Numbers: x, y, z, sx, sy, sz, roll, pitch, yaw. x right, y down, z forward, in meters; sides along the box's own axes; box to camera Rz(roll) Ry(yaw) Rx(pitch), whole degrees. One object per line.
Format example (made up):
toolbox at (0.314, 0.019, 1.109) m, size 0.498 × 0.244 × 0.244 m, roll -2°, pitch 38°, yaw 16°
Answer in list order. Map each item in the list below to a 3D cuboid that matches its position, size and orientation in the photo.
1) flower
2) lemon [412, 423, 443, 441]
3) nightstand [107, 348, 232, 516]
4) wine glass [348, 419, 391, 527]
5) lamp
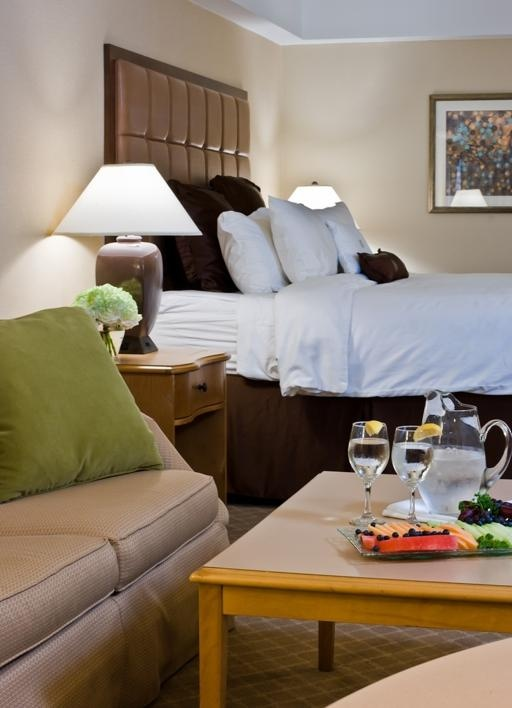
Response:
flower at (-0.564, -0.161, 2.351) m, size 0.270 × 0.283 × 0.244 m, roll -9°, pitch 13°, yaw -27°
lemon at (0.340, 0.154, 1.143) m, size 0.056 × 0.030 × 0.015 m, roll -9°, pitch 2°, yaw -33°
nightstand at (-0.377, 0.335, 2.513) m, size 0.382 × 0.547 × 0.567 m, roll 1°, pitch 2°, yaw 20°
wine glass at (0.225, 0.216, 1.153) m, size 0.083 × 0.231 × 0.069 m, roll -1°, pitch 5°, yaw -1°
lamp at (-0.606, -0.427, 2.808) m, size 0.510 × 0.936 × 0.610 m, roll 1°, pitch 4°, yaw 28°
